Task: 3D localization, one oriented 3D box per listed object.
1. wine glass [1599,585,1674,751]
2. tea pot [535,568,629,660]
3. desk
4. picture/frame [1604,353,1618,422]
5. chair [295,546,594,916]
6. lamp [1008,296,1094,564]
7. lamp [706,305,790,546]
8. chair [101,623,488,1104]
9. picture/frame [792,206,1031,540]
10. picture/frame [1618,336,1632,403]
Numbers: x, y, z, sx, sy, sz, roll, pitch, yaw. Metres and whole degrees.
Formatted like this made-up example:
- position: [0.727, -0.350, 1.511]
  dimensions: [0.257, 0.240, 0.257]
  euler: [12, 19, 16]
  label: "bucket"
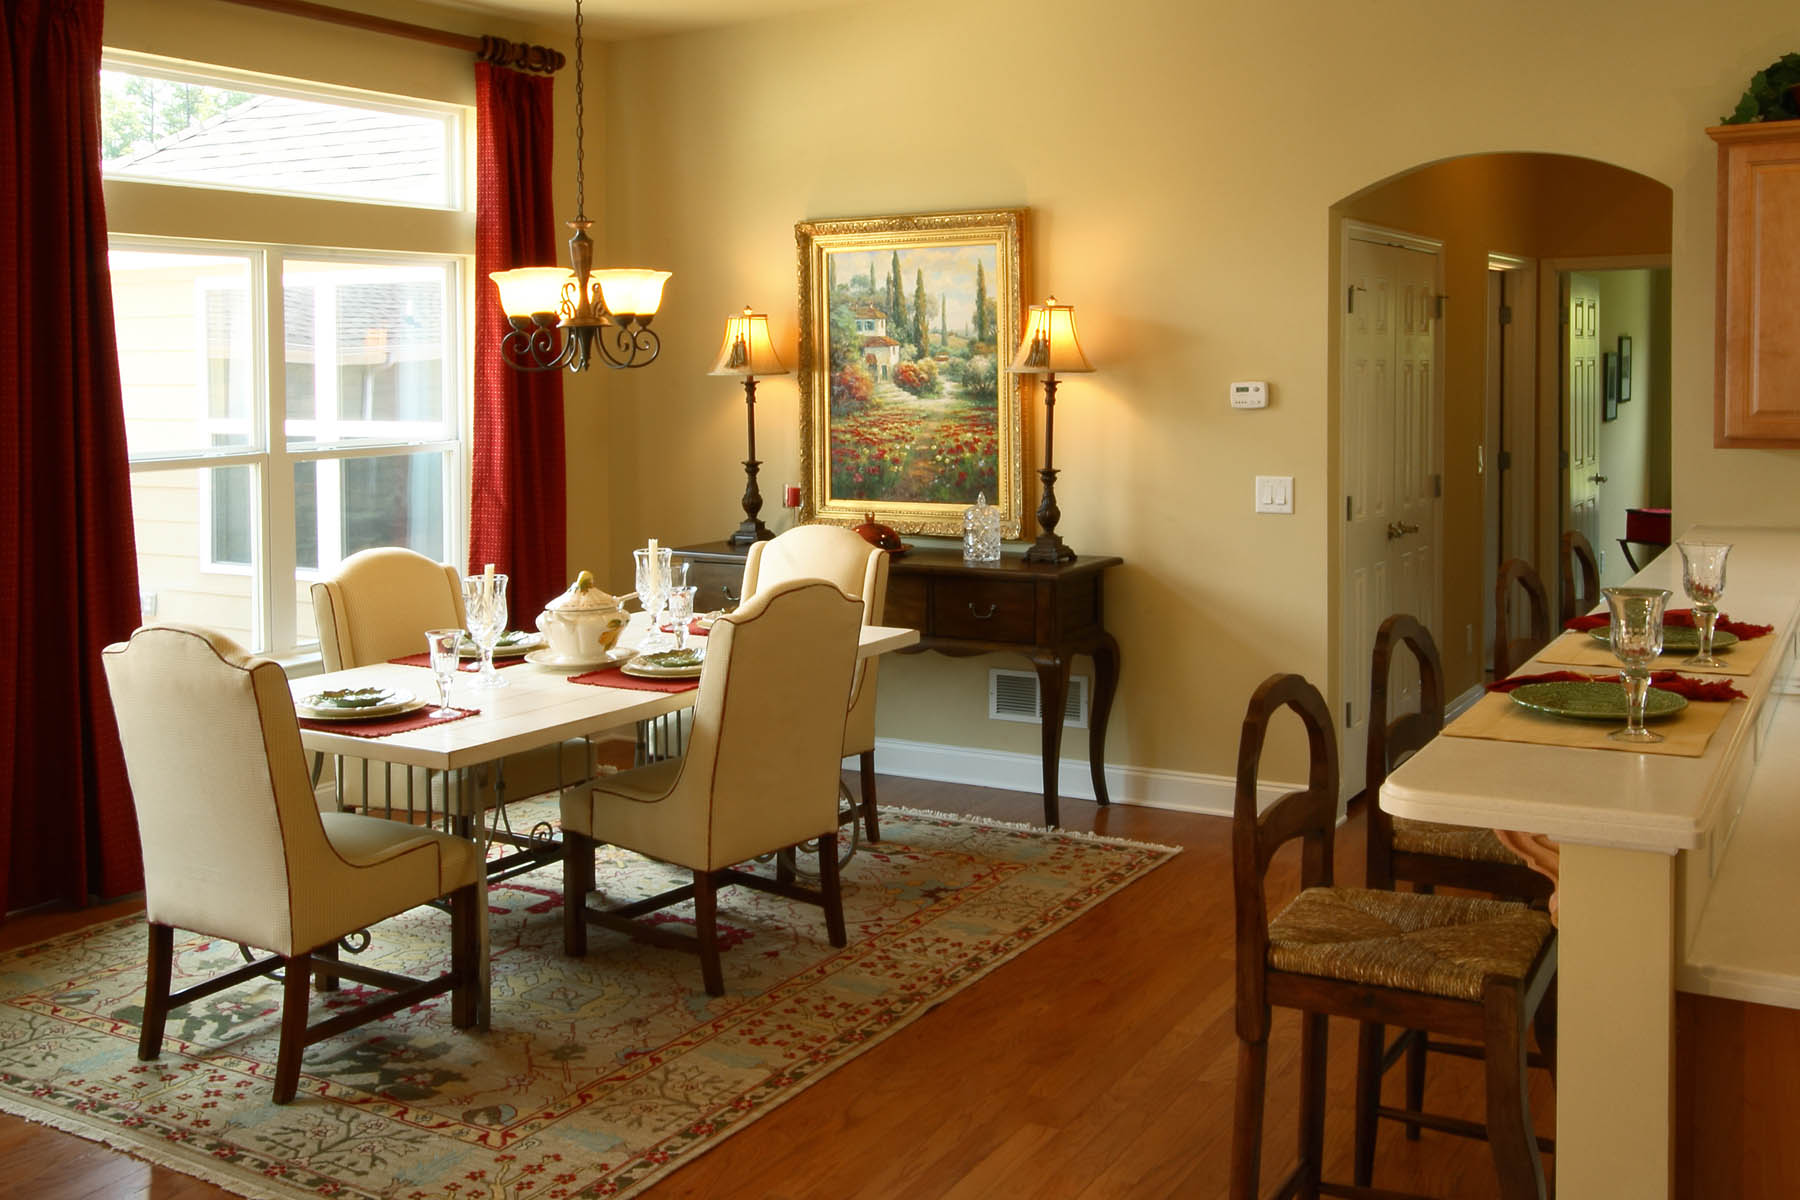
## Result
- position: [1.428, 0.106, 2.546]
  dimensions: [0.104, 0.286, 0.250]
  euler: [7, 15, 28]
  label: "wine glass"
- position: [-1.110, 0.065, 4.548]
  dimensions: [0.301, 0.311, 0.302]
  euler: [2, 8, 0]
  label: "tea pot"
- position: [-0.025, 0.354, 6.186]
  dimensions: [1.965, 1.190, 0.733]
  euler: [4, 9, 29]
  label: "desk"
- position: [5.124, -1.549, 9.388]
  dimensions: [0.059, 0.595, 0.517]
  euler: [0, 4, 30]
  label: "picture/frame"
- position: [-1.650, 0.466, 4.785]
  dimensions: [0.740, 1.201, 0.737]
  euler: [6, 8, 28]
  label: "chair"
- position: [0.665, -0.759, 5.762]
  dimensions: [0.343, 1.130, 0.571]
  euler: [2, 13, 8]
  label: "lamp"
- position: [-0.725, -0.865, 6.432]
  dimensions: [0.364, 1.138, 0.615]
  euler: [-2, 13, -8]
  label: "lamp"
- position: [-1.757, 0.691, 3.674]
  dimensions: [0.945, 1.293, 0.569]
  euler: [2, 14, 10]
  label: "chair"
- position: [0.047, -1.066, 6.167]
  dimensions: [1.238, 1.488, 0.191]
  euler: [6, 15, 25]
  label: "picture/frame"
- position: [5.454, -1.749, 9.791]
  dimensions: [0.064, 0.611, 0.536]
  euler: [0, 3, 32]
  label: "picture/frame"
